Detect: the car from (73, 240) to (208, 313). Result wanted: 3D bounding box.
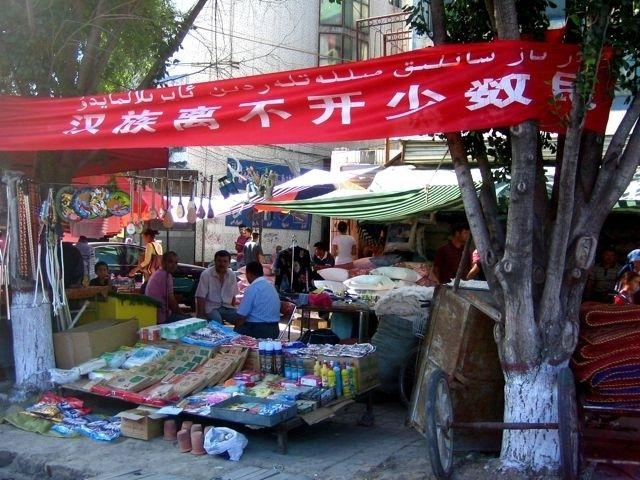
[{"bbox_3d":[-3.869,0.711,11.721,2.980,0.955,1.242,4,-5,-16],"label":"car"}]

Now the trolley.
[{"bbox_3d":[1.099,1.087,4.824,1.161,1.504,1.810,2,4,12],"label":"trolley"}]

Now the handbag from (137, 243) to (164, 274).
[{"bbox_3d":[-3.577,0.335,11.381,0.403,0.710,0.672,11,12,8],"label":"handbag"}]

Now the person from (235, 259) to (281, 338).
[{"bbox_3d":[-0.817,0.800,7.020,0.542,1.027,0.434,-2,4,-1],"label":"person"}]

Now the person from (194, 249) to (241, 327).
[{"bbox_3d":[-1.501,0.731,8.118,0.764,1.073,0.882,3,1,-23],"label":"person"}]

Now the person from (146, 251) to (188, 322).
[{"bbox_3d":[-2.246,0.685,7.682,0.473,0.984,0.864,-1,4,15],"label":"person"}]

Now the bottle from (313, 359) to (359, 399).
[{"bbox_3d":[0.140,1.458,5.619,0.424,0.353,0.365,-5,5,-38],"label":"bottle"}]

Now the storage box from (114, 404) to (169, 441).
[{"bbox_3d":[-1.730,1.834,5.293,0.480,0.201,0.446,-6,-14,27],"label":"storage box"}]

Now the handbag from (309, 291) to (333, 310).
[{"bbox_3d":[0.009,0.840,7.330,0.335,0.181,0.234,-2,4,3],"label":"handbag"}]
